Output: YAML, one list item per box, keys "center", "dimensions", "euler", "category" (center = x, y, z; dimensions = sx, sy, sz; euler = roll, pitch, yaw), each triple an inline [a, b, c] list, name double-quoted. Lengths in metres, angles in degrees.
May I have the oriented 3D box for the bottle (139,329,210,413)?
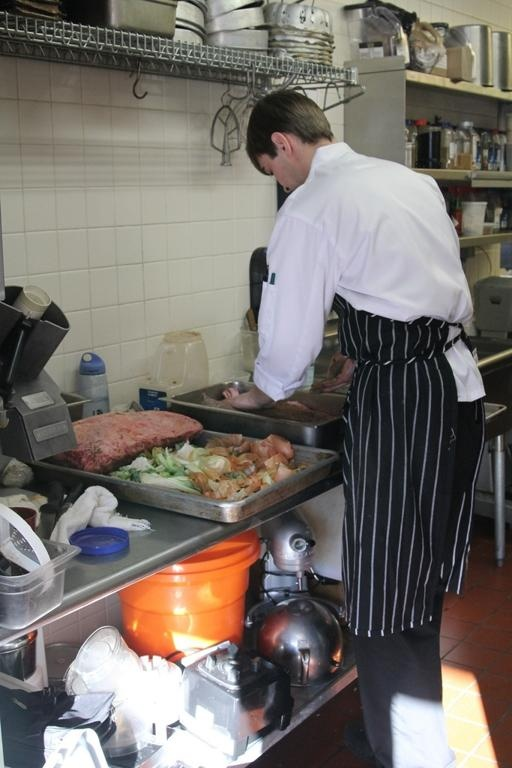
- center: [-0.265, -0.053, 2.039]
  dimensions: [0.138, 0.232, 0.236]
  euler: [17, 25, 28]
  category: "bottle"

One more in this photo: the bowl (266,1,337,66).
- center: [0.129, -1.201, 2.123]
  dimensions: [0.169, 0.191, 0.298]
  euler: [8, 19, 33]
  category: "bowl"

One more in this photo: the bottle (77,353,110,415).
- center: [-0.491, -0.002, 1.855]
  dimensions: [0.091, 0.183, 0.172]
  euler: [-6, 16, -13]
  category: "bottle"

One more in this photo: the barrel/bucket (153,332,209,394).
- center: [-0.250, -0.072, 2.010]
  dimensions: [0.114, 0.176, 0.191]
  euler: [9, 19, 35]
  category: "barrel/bucket"

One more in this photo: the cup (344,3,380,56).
- center: [0.462, -1.586, 2.770]
  dimensions: [0.088, 0.229, 0.195]
  euler: [-9, 17, -23]
  category: "cup"

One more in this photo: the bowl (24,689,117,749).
- center: [-0.362, 0.643, 1.217]
  dimensions: [0.132, 0.042, 0.119]
  euler: [1, 2, -10]
  category: "bowl"
